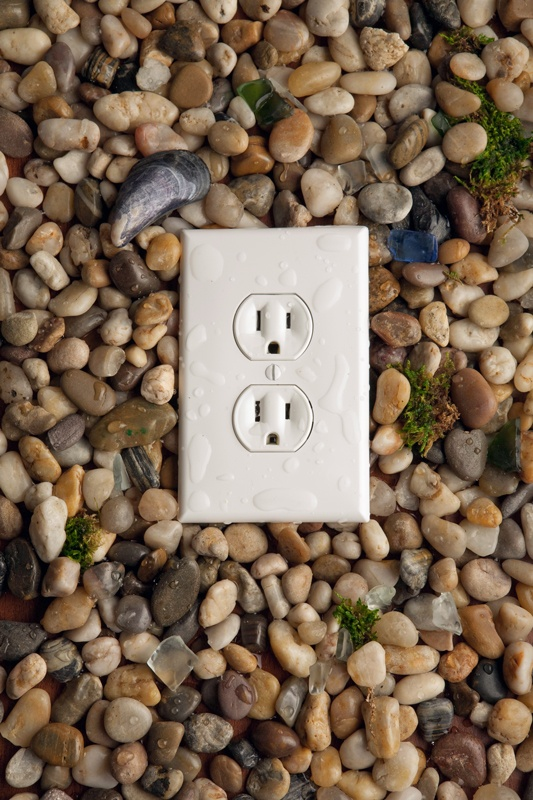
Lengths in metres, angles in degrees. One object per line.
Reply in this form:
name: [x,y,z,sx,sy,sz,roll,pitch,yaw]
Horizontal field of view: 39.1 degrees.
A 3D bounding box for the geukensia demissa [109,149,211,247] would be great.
geukensia demissa: [-0.178,-0.316,1.142,0.187,0.080,0.093,-38,86,-3]
